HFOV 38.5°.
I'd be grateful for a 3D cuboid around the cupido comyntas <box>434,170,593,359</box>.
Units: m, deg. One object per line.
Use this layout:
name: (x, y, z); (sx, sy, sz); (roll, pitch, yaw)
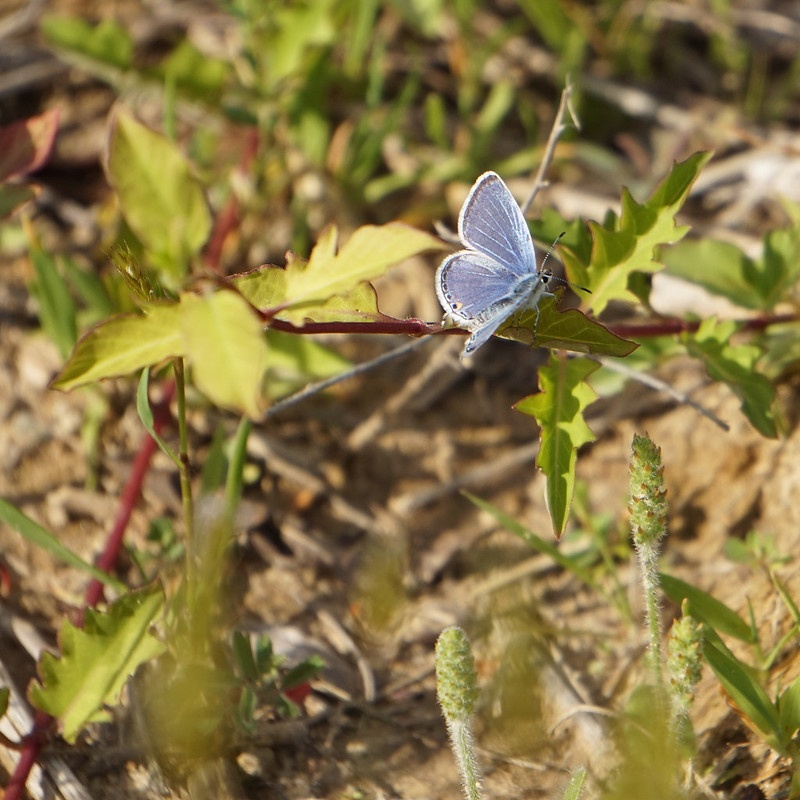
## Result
cupido comyntas: (0.174, -0.269, 2.227); (0.221, 0.171, 0.346); (-7, 50, 4)
